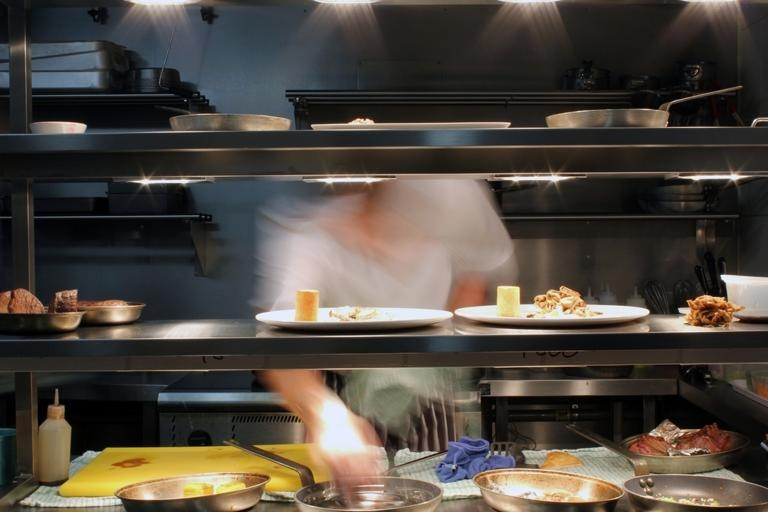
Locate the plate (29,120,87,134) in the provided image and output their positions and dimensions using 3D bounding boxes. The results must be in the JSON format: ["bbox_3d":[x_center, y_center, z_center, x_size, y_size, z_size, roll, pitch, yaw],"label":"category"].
[{"bbox_3d":[-1.159,-0.452,2.982,0.130,0.024,0.109,0,2,5],"label":"plate"}]

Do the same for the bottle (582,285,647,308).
[{"bbox_3d":[1.364,0.248,5.002,0.413,0.193,0.129,0,-1,-1],"label":"bottle"}]

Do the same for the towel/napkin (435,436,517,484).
[{"bbox_3d":[0.335,0.777,3.216,0.222,0.064,0.205,0,5,21],"label":"towel/napkin"}]

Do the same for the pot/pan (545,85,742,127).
[{"bbox_3d":[0.906,-0.490,2.970,0.634,0.074,0.334,-5,3,9],"label":"pot/pan"}]

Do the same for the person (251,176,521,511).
[{"bbox_3d":[0.063,0.281,4.830,1.798,1.380,0.582,-2,-4,-16],"label":"person"}]

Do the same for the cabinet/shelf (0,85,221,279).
[{"bbox_3d":[-1.669,-0.445,5.097,1.949,1.011,0.875,0,0,-4],"label":"cabinet/shelf"}]
